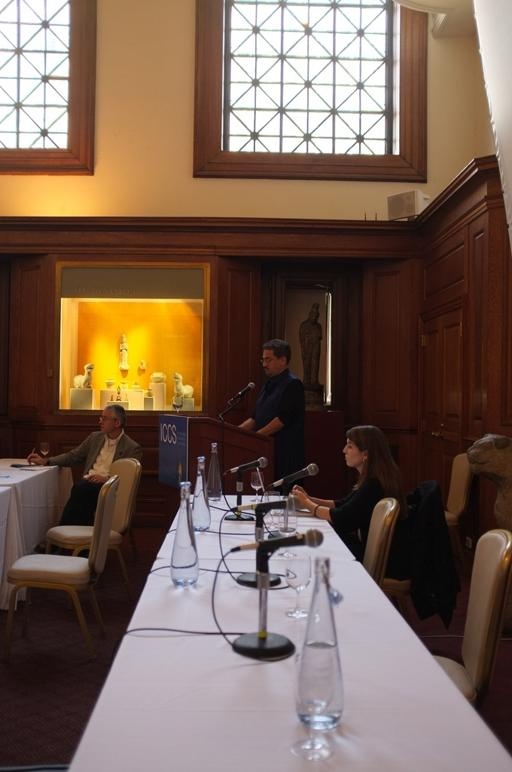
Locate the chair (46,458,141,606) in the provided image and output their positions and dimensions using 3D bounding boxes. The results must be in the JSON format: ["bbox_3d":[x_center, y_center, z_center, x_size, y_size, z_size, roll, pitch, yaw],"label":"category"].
[{"bbox_3d":[-1.061,0.933,3.930,0.537,0.967,0.493,8,-5,-44],"label":"chair"}]

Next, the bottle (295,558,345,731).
[{"bbox_3d":[0.093,0.373,0.871,0.065,0.277,0.150,1,-2,9],"label":"bottle"}]

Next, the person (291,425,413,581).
[{"bbox_3d":[0.446,0.721,2.877,0.537,1.057,0.397,5,-4,19],"label":"person"}]

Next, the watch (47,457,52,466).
[{"bbox_3d":[-1.591,0.580,4.612,0.032,0.051,0.047,5,-5,8],"label":"watch"}]

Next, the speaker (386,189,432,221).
[{"bbox_3d":[1.516,-1.821,6.057,0.313,0.236,0.324,-5,4,-36],"label":"speaker"}]

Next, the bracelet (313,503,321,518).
[{"bbox_3d":[0.287,0.600,2.847,0.039,0.050,0.053,0,-8,2],"label":"bracelet"}]
